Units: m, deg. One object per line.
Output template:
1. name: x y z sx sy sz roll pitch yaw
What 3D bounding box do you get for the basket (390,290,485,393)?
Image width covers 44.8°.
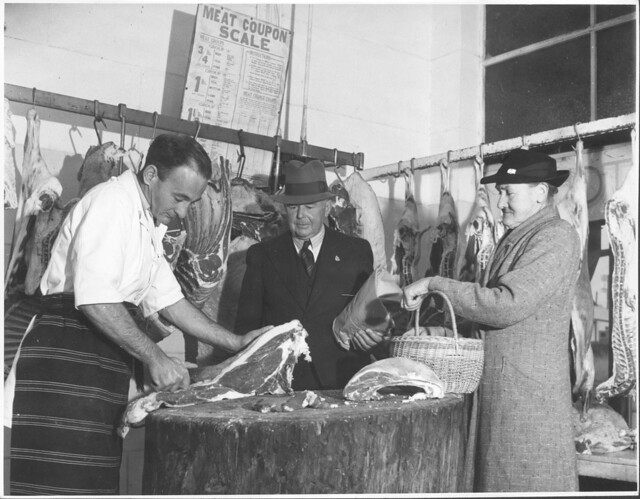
1. basket: 0.527 0.398 3.369 0.435 0.484 0.328 6 -8 -8

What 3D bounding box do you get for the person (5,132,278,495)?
1. person: -0.904 0.272 3.329 0.783 1.555 0.405 0 2 -25

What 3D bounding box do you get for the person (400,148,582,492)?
1. person: 0.874 0.329 3.616 0.628 1.626 0.432 1 2 17
